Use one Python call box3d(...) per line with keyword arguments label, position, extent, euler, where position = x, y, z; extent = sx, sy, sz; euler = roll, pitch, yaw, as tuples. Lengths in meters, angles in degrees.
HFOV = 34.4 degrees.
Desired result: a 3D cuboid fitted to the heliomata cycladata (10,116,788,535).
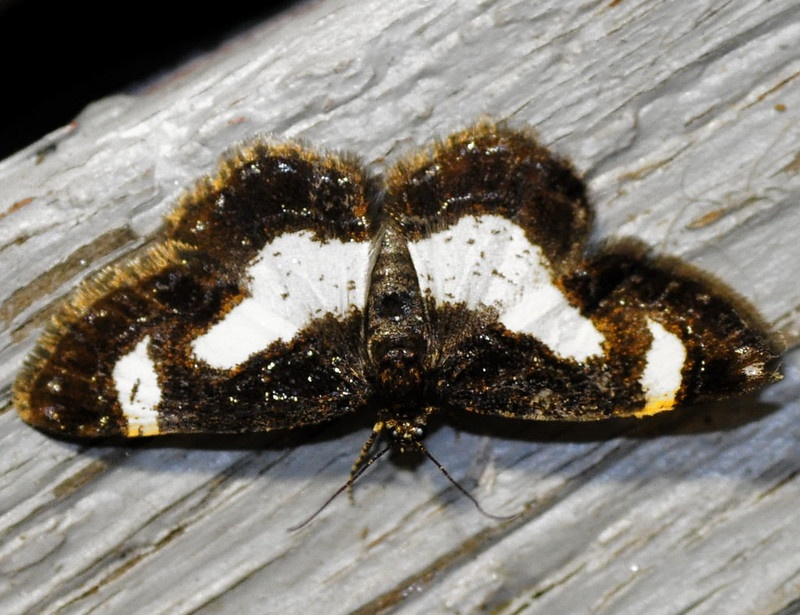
box3d(label="heliomata cycladata", position=(-0.082, -0.029, 7.583), extent=(4.793, 0.910, 1.862), euler=(-4, 82, -28))
